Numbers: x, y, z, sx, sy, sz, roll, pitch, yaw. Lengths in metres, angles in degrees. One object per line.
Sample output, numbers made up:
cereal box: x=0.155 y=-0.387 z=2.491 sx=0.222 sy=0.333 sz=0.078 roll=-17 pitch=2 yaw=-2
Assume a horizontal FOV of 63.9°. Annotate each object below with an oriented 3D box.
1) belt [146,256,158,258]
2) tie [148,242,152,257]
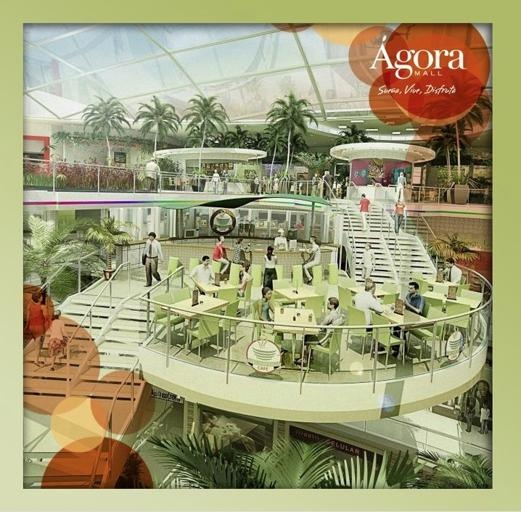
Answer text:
belt: x=-2.995 y=0.022 z=11.529 sx=0.294 sy=0.100 sz=0.140 roll=-5 pitch=8 yaw=-20
tie: x=-3.027 y=-0.179 z=11.409 sx=0.177 sy=0.372 sz=0.054 roll=4 pitch=10 yaw=39
